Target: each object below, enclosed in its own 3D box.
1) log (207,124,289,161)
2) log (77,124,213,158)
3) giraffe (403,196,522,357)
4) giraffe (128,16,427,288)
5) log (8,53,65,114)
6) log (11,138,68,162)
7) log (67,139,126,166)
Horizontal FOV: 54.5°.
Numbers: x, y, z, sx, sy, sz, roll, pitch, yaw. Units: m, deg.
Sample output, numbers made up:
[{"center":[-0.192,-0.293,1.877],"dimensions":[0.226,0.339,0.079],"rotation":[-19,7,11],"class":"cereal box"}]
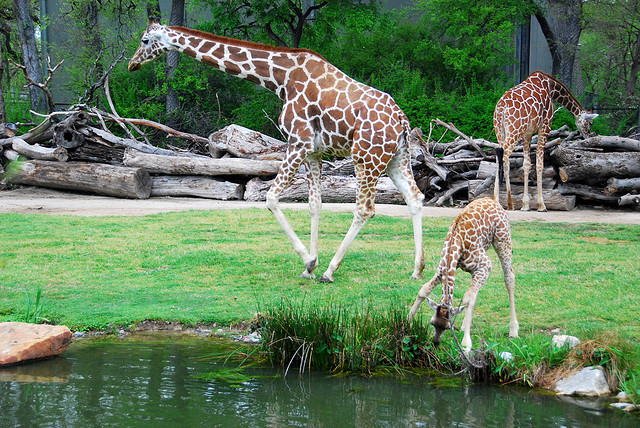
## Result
[{"center":[-2.293,-2.105,19.727],"dimensions":[2.392,0.930,1.661],"rotation":[3,-11,-2],"class":"log"},{"center":[-6.052,-2.486,21.260],"dimensions":[5.262,0.615,0.617],"rotation":[14,43,12],"class":"log"},{"center":[2.236,0.647,9.886],"dimensions":[1.129,2.067,3.211],"rotation":[3,11,27],"class":"giraffe"},{"center":[-0.882,-1.168,11.591],"dimensions":[5.494,4.790,1.472],"rotation":[1,7,5],"class":"giraffe"},{"center":[-9.452,-4.263,20.946],"dimensions":[0.913,1.705,1.567],"rotation":[-19,-11,43],"class":"log"},{"center":[-9.079,-2.074,20.094],"dimensions":[1.465,0.451,0.483],"rotation":[10,45,16],"class":"log"},{"center":[-7.122,-1.961,19.914],"dimensions":[1.415,1.086,0.388],"rotation":[11,-10,-8],"class":"log"}]
